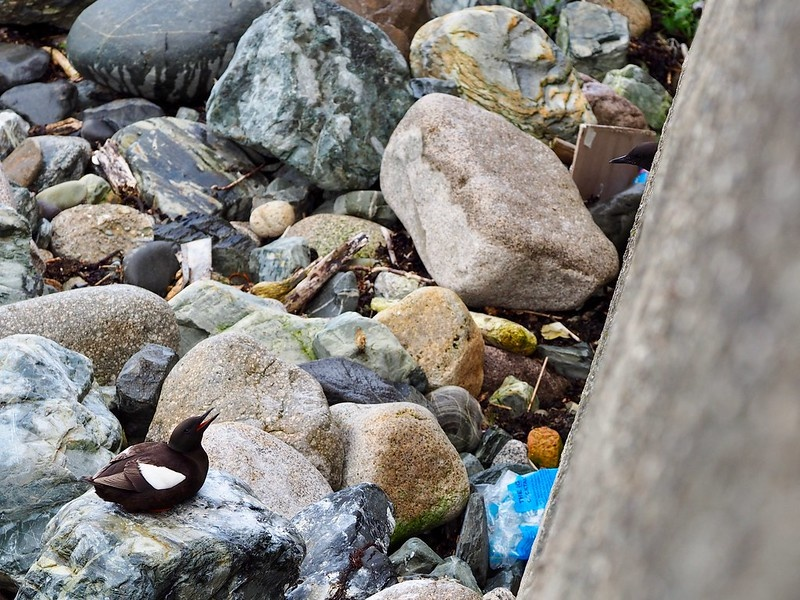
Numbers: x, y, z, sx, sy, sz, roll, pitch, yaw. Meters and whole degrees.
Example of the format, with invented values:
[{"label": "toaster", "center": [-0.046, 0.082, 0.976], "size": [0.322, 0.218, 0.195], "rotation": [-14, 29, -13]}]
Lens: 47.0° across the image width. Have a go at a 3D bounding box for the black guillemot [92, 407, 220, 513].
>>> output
[{"label": "black guillemot", "center": [-0.772, 0.491, 2.950], "size": [0.435, 0.313, 0.233], "rotation": [-6, 23, -33]}]
